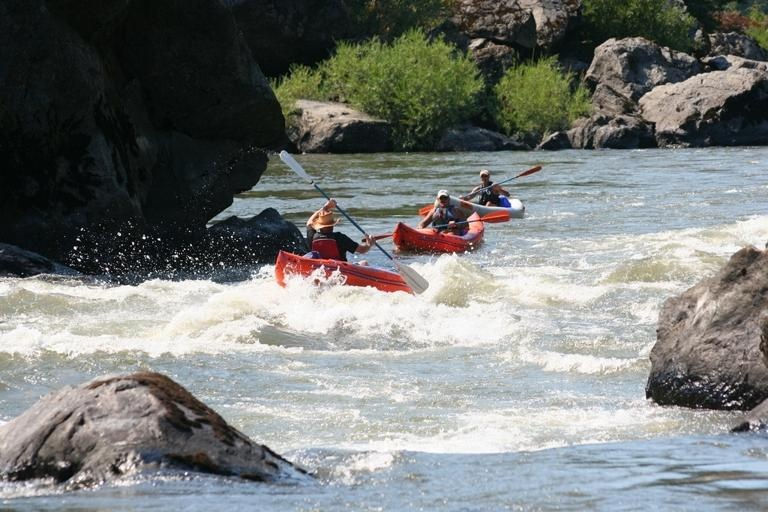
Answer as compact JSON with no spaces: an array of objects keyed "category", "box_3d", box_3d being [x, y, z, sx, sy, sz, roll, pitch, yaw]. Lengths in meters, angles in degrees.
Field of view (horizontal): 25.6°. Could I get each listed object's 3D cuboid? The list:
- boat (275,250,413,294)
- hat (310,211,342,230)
[{"category":"boat","box_3d":[-1.325,0.531,39.018,3.825,0.673,1.023,8,29,-17]},{"category":"hat","box_3d":[-1.281,-0.904,39.638,0.519,0.193,0.551,-5,18,21]}]
